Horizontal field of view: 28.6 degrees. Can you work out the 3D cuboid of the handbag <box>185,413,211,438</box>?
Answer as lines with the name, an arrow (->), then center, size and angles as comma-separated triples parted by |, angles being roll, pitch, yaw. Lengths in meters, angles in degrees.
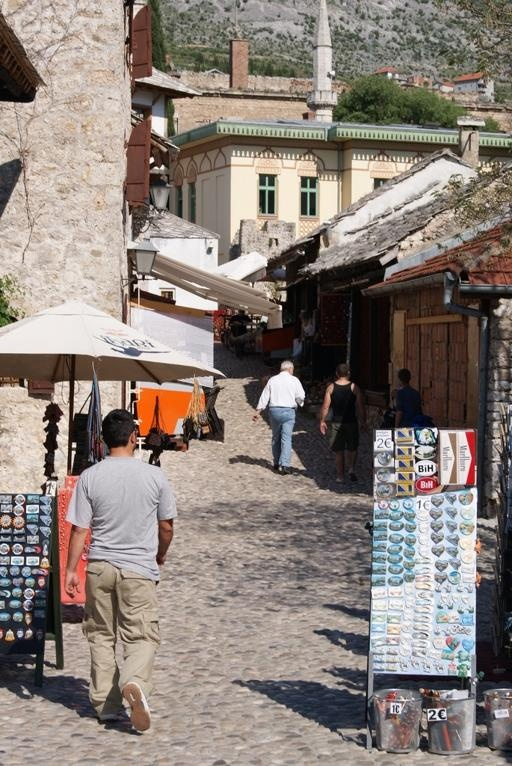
handbag -> -0.989, 0.710, 16.816 | 0.274, 0.377, 0.132 | 0, 17, -8

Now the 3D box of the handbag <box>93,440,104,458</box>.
handbag -> -1.037, 0.443, 6.629 | 0.039, 0.161, 0.056 | 2, -1, 8

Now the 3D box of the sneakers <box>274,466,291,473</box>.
sneakers -> 0.366, 1.229, 14.166 | 0.120, 0.092, 0.277 | 0, -1, -6

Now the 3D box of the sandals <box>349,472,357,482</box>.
sandals -> 1.295, 1.250, 13.435 | 0.068, 0.120, 0.118 | 3, -21, -7

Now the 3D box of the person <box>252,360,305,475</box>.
person -> 0.344, 0.473, 14.223 | 0.640, 1.552, 0.818 | 0, 7, 0

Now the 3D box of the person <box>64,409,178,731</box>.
person -> -0.627, 0.920, 4.773 | 0.541, 1.500, 0.863 | -1, 7, -11
